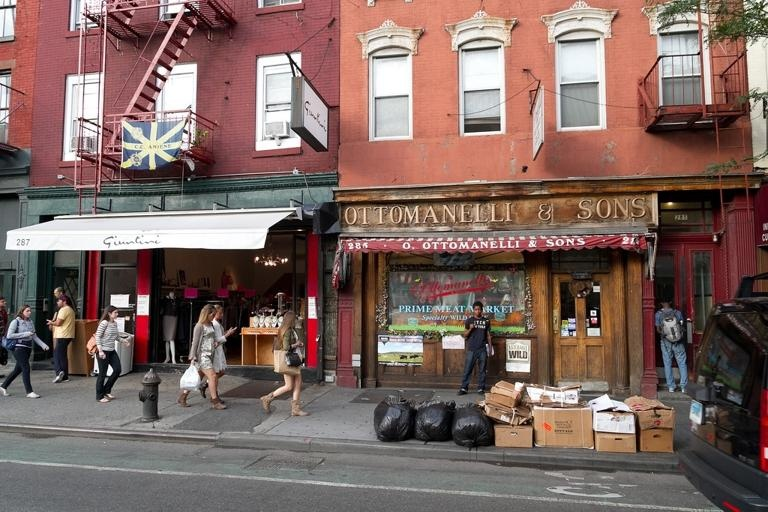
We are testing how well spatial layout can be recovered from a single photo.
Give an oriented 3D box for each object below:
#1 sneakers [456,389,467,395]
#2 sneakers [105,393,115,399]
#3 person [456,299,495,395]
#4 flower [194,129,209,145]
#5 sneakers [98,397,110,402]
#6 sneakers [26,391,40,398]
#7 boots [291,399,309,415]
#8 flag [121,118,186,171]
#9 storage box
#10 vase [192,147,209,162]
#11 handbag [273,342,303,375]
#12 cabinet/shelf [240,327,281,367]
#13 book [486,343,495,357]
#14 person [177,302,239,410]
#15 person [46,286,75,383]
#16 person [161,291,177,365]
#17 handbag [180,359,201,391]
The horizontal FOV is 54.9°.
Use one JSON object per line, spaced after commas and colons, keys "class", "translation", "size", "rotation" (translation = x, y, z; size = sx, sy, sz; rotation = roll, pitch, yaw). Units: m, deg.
{"class": "sneakers", "translation": [1.993, 3.484, 18.872], "size": [0.240, 0.112, 0.122], "rotation": [6, -8, -27]}
{"class": "sneakers", "translation": [-6.872, 3.513, 18.454], "size": [0.256, 0.116, 0.087], "rotation": [-3, -10, 41]}
{"class": "person", "translation": [2.392, 2.357, 19.059], "size": [0.881, 2.336, 0.930], "rotation": [1, 9, 8]}
{"class": "flower", "translation": [-5.177, -3.344, 20.784], "size": [0.290, 0.450, 0.629], "rotation": [2, 10, 13]}
{"class": "sneakers", "translation": [-6.949, 3.554, 18.267], "size": [0.236, 0.076, 0.182], "rotation": [-1, 10, -5]}
{"class": "sneakers", "translation": [-8.831, 3.486, 18.559], "size": [0.319, 0.129, 0.147], "rotation": [0, -2, 10]}
{"class": "boots", "translation": [-2.014, 3.566, 17.428], "size": [0.501, 0.419, 0.242], "rotation": [-2, 0, -22]}
{"class": "flag", "translation": [-6.375, -3.065, 20.276], "size": [1.413, 1.039, 0.119], "rotation": [2, -3, 7]}
{"class": "storage box", "translation": [4.051, 3.373, 15.496], "size": [3.714, 1.231, 0.657], "rotation": [1, 10, 8]}
{"class": "vase", "translation": [-5.153, -2.829, 20.685], "size": [0.279, 0.451, 0.765], "rotation": [6, 11, 33]}
{"class": "handbag", "translation": [-2.254, 2.453, 17.106], "size": [0.583, 0.612, 0.400], "rotation": [-1, 10, -5]}
{"class": "cabinet/shelf", "translation": [-3.395, 2.524, 20.434], "size": [1.364, 1.328, 0.716], "rotation": [-1, -7, 3]}
{"class": "book", "translation": [2.699, 2.418, 18.852], "size": [0.218, 0.369, 0.383], "rotation": [-4, -7, 36]}
{"class": "person", "translation": [-4.364, 2.453, 18.170], "size": [1.048, 2.525, 1.403], "rotation": [-1, 9, -3]}
{"class": "person", "translation": [-8.984, 2.259, 20.620], "size": [0.636, 2.361, 1.496], "rotation": [-4, 10, -23]}
{"class": "person", "translation": [-6.289, 2.101, 21.684], "size": [0.469, 1.920, 0.823], "rotation": [-3, 10, -17]}
{"class": "handbag", "translation": [-4.637, 2.909, 17.619], "size": [0.428, 0.779, 0.542], "rotation": [-2, 10, -11]}
